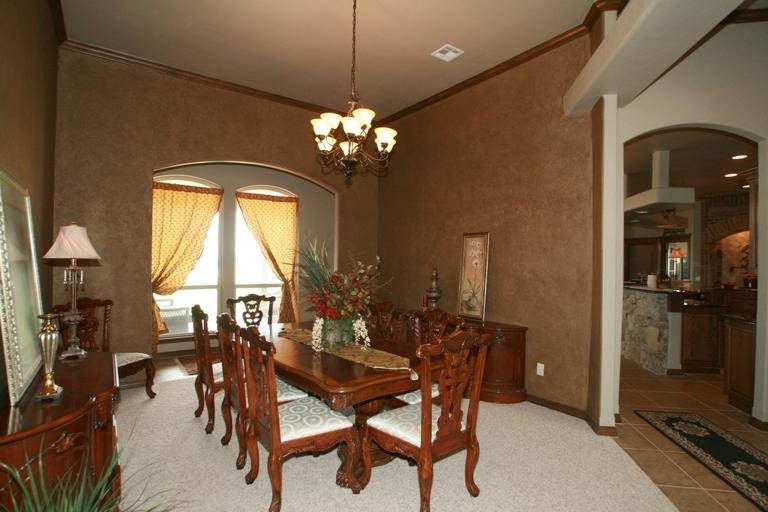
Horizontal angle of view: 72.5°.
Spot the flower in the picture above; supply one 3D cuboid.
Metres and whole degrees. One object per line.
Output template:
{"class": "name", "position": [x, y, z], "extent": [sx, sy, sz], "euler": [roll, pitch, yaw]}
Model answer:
{"class": "flower", "position": [-0.453, 0.553, 5.602], "extent": [0.717, 0.883, 0.699], "euler": [-5, -4, 25]}

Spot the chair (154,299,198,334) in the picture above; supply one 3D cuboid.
{"class": "chair", "position": [-3.248, 0.905, 8.049], "extent": [0.546, 0.678, 0.475], "euler": [3, -4, -36]}

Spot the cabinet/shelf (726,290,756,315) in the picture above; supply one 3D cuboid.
{"class": "cabinet/shelf", "position": [6.755, 0.858, 9.851], "extent": [0.266, 0.401, 0.392], "euler": [-2, 4, -38]}

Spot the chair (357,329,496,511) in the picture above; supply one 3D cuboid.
{"class": "chair", "position": [0.401, 1.478, 4.865], "extent": [1.006, 1.579, 0.667], "euler": [0, -2, -21]}

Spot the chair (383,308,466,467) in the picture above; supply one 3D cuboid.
{"class": "chair", "position": [0.551, 1.080, 5.892], "extent": [0.888, 1.674, 0.868], "euler": [2, -4, -34]}

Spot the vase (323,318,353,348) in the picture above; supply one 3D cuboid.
{"class": "vase", "position": [-0.480, 0.788, 5.392], "extent": [0.279, 0.331, 0.283], "euler": [1, 0, -10]}

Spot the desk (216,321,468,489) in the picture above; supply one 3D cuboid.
{"class": "desk", "position": [-0.725, 1.395, 5.265], "extent": [1.445, 1.350, 2.313], "euler": [-3, 4, -34]}
